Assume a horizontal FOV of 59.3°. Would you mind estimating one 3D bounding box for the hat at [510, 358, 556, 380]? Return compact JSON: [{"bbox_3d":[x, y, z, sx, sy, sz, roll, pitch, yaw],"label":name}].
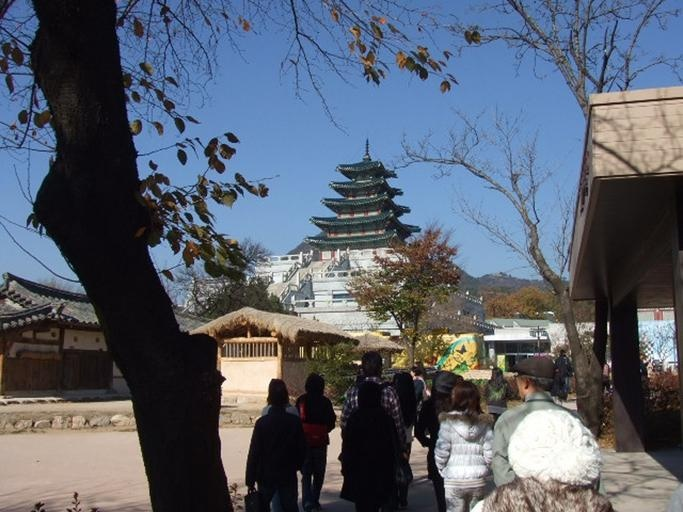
[{"bbox_3d":[1.435,0.809,4.518,0.182,0.088,0.209,2,-4,-36],"label":"hat"}]
